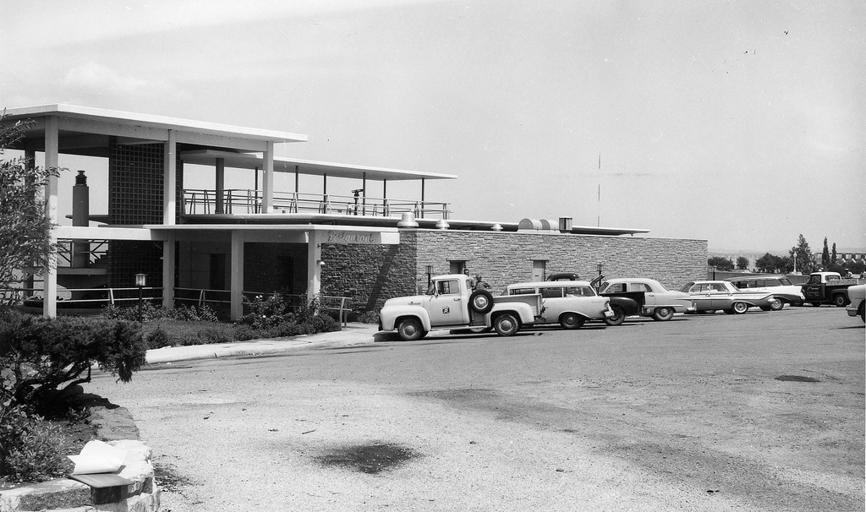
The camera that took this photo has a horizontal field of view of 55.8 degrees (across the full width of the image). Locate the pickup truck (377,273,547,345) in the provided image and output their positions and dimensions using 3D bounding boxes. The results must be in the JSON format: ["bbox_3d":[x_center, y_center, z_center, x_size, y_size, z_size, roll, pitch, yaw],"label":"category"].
[{"bbox_3d":[1.213,2.052,34.375,6.504,2.457,2.720,1,-7,-1],"label":"pickup truck"}]
